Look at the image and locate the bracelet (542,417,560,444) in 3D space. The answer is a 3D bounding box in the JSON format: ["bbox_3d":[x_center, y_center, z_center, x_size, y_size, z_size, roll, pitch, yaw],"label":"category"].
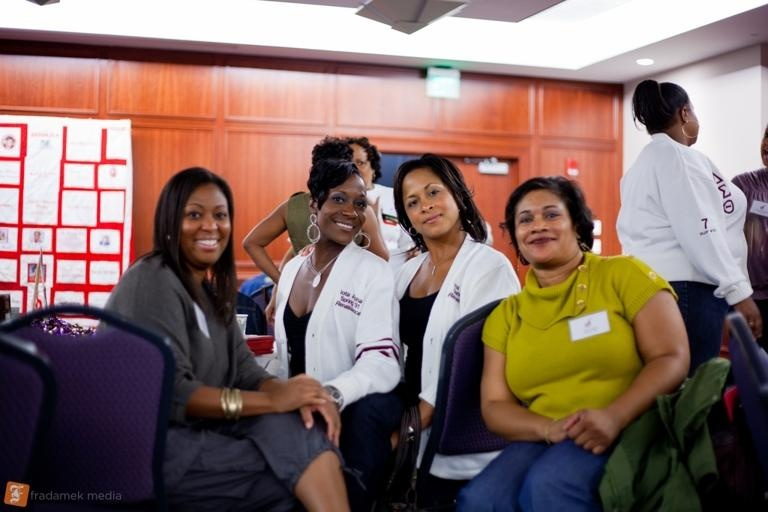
[{"bbox_3d":[0.583,0.605,1.966,0.075,0.075,0.028,-17,-29,40],"label":"bracelet"}]

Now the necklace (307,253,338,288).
[{"bbox_3d":[-0.293,0.071,2.537,0.119,0.121,0.033,4,-1,28],"label":"necklace"}]

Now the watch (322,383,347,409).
[{"bbox_3d":[-0.179,0.519,2.105,0.032,0.084,0.063,-44,12,-20],"label":"watch"}]

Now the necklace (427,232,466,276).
[{"bbox_3d":[0.295,0.007,2.705,0.168,0.219,0.157,8,-9,-42],"label":"necklace"}]
